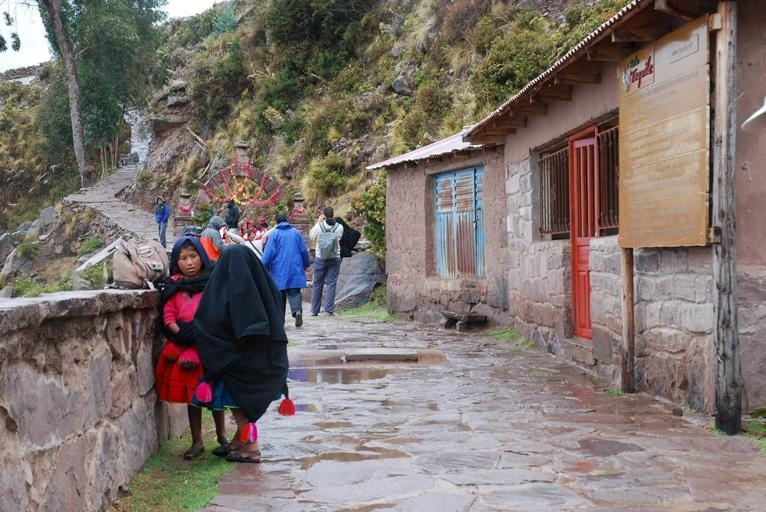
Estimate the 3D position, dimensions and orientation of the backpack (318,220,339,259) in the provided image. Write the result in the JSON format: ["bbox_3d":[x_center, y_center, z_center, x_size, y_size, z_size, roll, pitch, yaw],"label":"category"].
[{"bbox_3d":[-1.133,-0.381,14.270,0.415,0.740,0.722,0,35,0],"label":"backpack"}]

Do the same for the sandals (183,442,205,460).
[{"bbox_3d":[-1.617,1.679,5.765,0.079,0.175,0.214,-6,-11,30],"label":"sandals"}]

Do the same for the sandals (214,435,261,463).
[{"bbox_3d":[-1.214,1.634,5.679,0.312,0.123,0.187,5,-7,5],"label":"sandals"}]

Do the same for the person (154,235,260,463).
[{"bbox_3d":[-1.657,0.780,5.761,0.640,1.896,0.570,-2,5,-10],"label":"person"}]
